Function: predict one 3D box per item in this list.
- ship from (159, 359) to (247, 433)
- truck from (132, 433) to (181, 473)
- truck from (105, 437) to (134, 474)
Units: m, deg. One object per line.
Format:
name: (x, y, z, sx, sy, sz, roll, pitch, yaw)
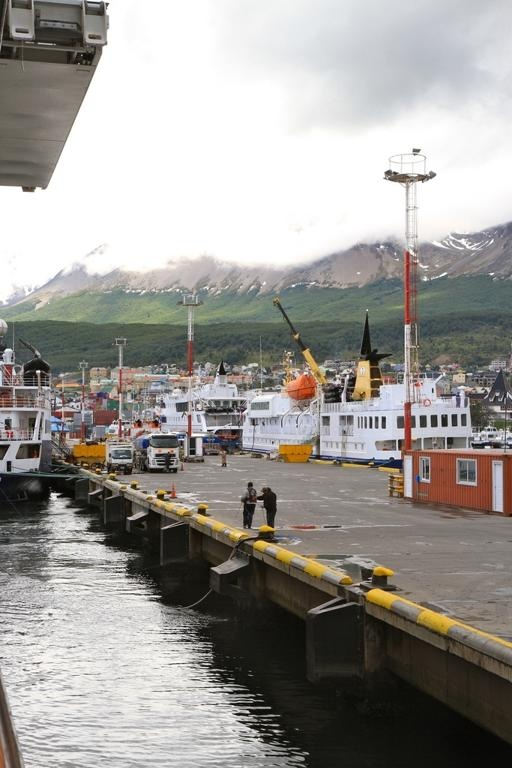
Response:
ship: (-5.971, 2.507, 116.238, 5.488, 6.318, 13.601, 1, 1, -18)
truck: (-6.014, 4.255, 60.646, 1.598, 1.741, 5.256, 1, -2, -14)
truck: (-8.442, 4.644, 61.067, 1.178, 1.567, 3.112, 1, -4, -15)
